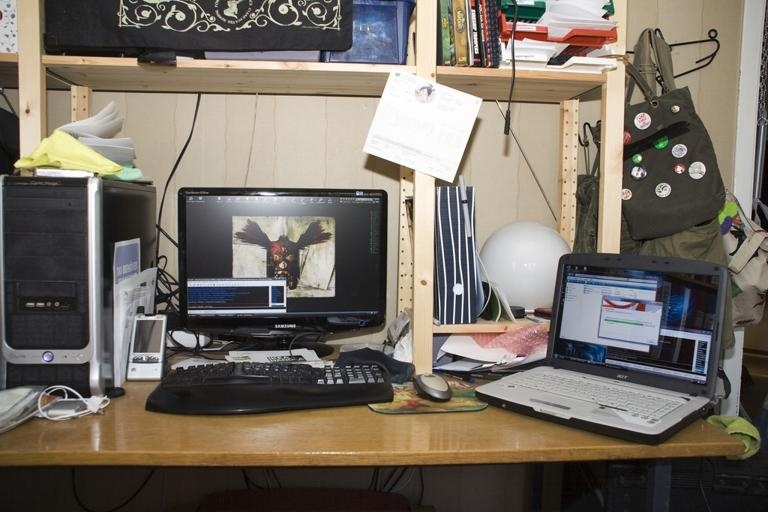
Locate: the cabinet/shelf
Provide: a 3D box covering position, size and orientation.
[{"bbox_3d":[-0.279,-0.221,2.365,1.153,1.090,0.355,2,4,-3],"label":"cabinet/shelf"}]

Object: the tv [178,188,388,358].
[{"bbox_3d":[-0.348,0.035,2.457,0.558,0.399,0.170,0,3,-2],"label":"tv"}]

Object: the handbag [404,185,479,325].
[{"bbox_3d":[0.189,0.000,2.332,0.177,0.440,0.462,-1,2,0],"label":"handbag"}]

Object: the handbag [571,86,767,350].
[{"bbox_3d":[0.945,-0.114,2.573,0.658,0.867,0.278,-4,6,8],"label":"handbag"}]

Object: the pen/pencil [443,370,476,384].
[{"bbox_3d":[0.241,0.381,2.301,0.081,0.014,0.020,11,44,23],"label":"pen/pencil"}]
